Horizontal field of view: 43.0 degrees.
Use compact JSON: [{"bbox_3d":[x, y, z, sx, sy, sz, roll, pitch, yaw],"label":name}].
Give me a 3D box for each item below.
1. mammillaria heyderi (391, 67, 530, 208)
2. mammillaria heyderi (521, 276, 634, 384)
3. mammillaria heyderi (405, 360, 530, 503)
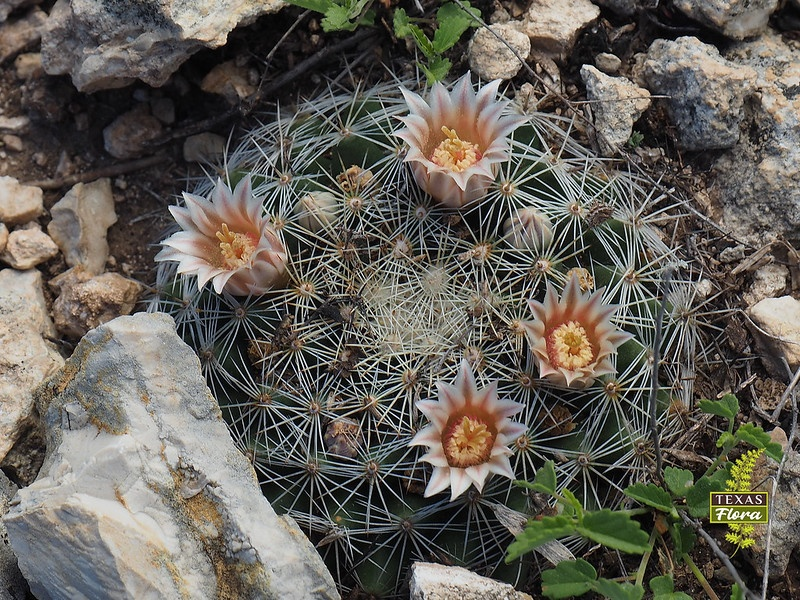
[{"bbox_3d":[0.299,-0.698,5.419,0.608,0.636,0.611,7,59,-21],"label":"mammillaria heyderi"},{"bbox_3d":[0.843,0.225,5.116,0.521,0.294,0.572,6,59,29],"label":"mammillaria heyderi"},{"bbox_3d":[0.328,0.678,5.059,0.523,0.281,0.587,-18,47,-8],"label":"mammillaria heyderi"}]
